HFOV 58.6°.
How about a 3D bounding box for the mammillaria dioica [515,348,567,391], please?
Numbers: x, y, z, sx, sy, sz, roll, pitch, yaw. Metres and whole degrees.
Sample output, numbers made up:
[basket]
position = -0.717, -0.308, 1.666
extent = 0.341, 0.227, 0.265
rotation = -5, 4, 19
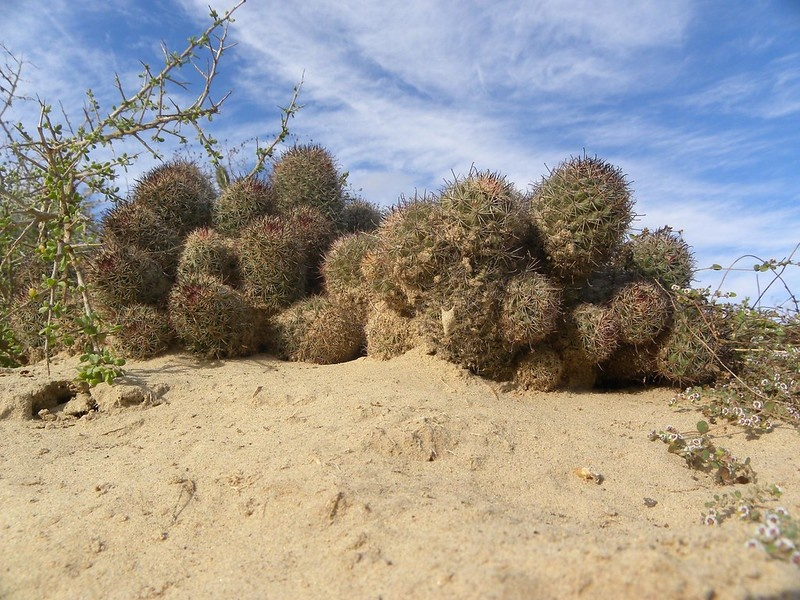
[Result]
[mammillaria dioica]
position = 1.384, 0.706, 7.073
extent = 0.446, 0.383, 0.216
rotation = 14, 4, 3
